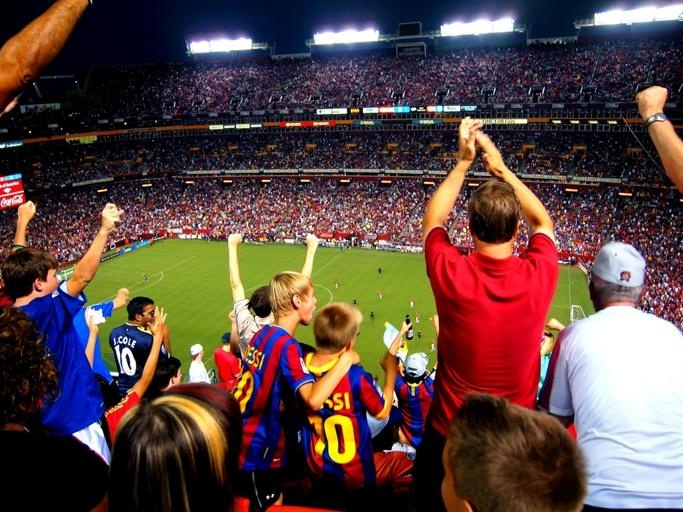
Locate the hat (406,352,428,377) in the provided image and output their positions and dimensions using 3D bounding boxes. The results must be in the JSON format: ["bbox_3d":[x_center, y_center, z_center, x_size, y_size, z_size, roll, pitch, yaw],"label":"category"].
[{"bbox_3d":[1.219,1.743,8.302,0.258,0.314,0.379,3,-12,20],"label":"hat"}]

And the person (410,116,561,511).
[{"bbox_3d":[1.359,0.581,4.939,1.339,3.885,0.794,-1,2,8],"label":"person"}]
